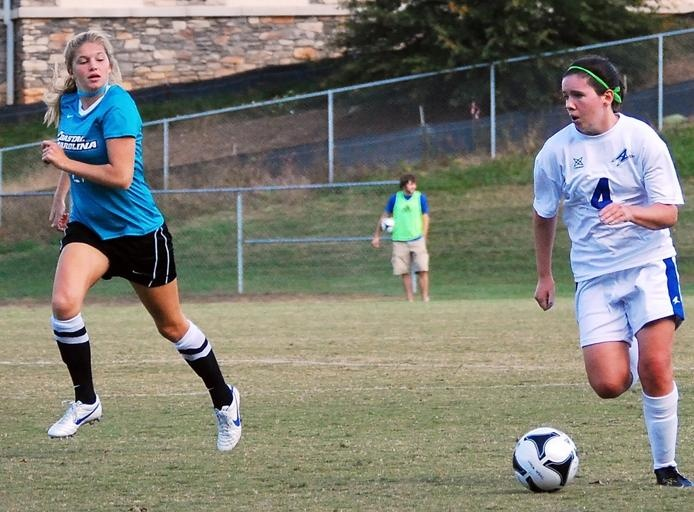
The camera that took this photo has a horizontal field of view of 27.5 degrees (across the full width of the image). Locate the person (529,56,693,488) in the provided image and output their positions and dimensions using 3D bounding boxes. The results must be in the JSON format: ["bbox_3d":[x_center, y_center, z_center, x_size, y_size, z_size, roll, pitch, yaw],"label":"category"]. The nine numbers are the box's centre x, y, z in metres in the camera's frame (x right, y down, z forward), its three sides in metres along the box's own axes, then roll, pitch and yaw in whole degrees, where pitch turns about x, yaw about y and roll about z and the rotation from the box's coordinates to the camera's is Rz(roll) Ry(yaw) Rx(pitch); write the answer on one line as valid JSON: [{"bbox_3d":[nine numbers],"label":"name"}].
[{"bbox_3d":[2.626,0.073,13.327,1.000,3.835,1.632,-11,15,-31],"label":"person"}]

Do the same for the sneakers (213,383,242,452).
[{"bbox_3d":[-1.137,1.544,13.807,0.252,0.607,0.276,-8,-15,17],"label":"sneakers"}]

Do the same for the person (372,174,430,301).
[{"bbox_3d":[0.961,-0.274,22.302,0.668,2.033,0.817,-3,13,1],"label":"person"}]

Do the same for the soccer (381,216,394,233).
[{"bbox_3d":[0.691,-0.515,22.766,0.291,0.200,0.234,5,-26,9],"label":"soccer"}]

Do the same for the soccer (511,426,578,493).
[{"bbox_3d":[1.856,1.838,13.213,0.605,0.495,0.585,-4,11,-42],"label":"soccer"}]
